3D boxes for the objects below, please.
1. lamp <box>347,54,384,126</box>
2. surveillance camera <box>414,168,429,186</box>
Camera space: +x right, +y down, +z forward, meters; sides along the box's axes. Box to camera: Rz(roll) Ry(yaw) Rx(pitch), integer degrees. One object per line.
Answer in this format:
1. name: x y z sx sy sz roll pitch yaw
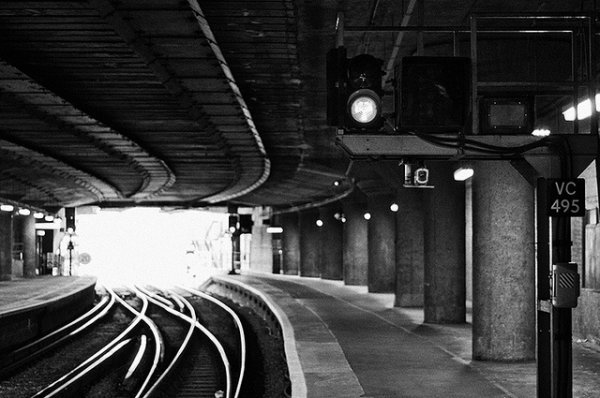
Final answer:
1. lamp: 0.961 -1.583 9.712 0.542 1.106 0.220 0 -6 3
2. surveillance camera: 2.550 -0.467 13.873 0.368 0.474 0.152 0 4 11
